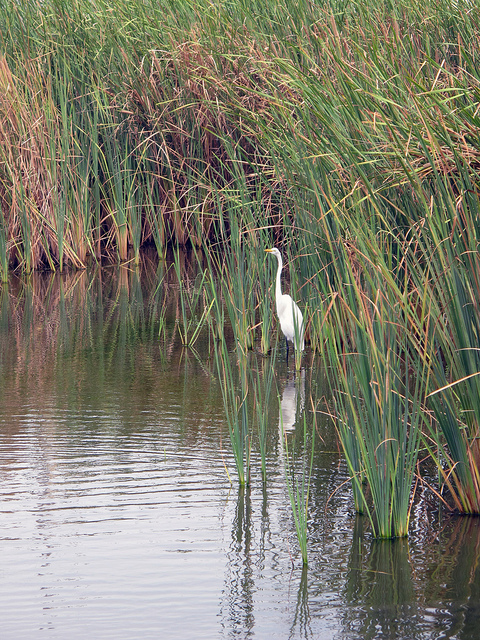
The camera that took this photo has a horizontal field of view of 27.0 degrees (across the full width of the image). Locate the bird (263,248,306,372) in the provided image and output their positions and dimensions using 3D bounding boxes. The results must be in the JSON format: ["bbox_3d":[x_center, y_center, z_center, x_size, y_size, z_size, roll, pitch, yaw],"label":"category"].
[{"bbox_3d":[0.317,-0.091,7.282,0.309,0.833,1.493,0,9,3],"label":"bird"}]
